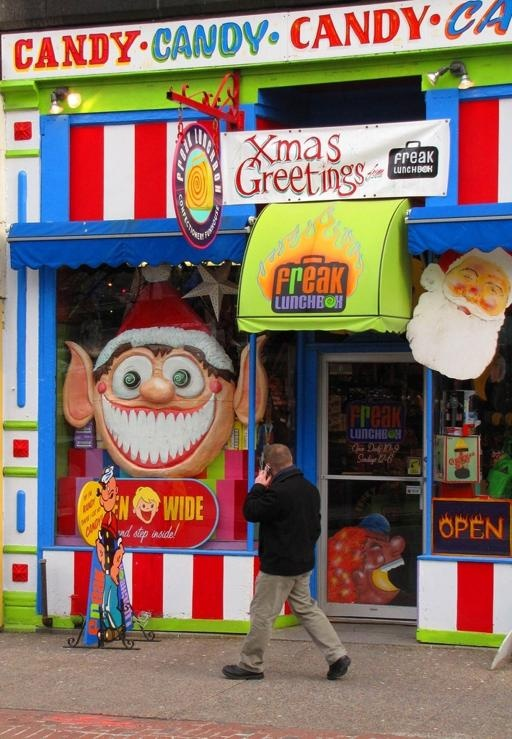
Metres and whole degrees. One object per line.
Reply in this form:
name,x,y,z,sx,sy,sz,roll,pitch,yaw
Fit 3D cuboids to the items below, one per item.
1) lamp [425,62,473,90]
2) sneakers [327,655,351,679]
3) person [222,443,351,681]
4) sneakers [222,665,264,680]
lamp,1.448,-2.159,8.269,0.389,0.238,0.152,-1,3,11
sneakers,0.528,1.913,7.189,0.138,0.166,0.237,1,2,4
person,0.187,1.262,7.198,0.795,1.507,0.344,0,2,-4
sneakers,-0.090,1.960,7.161,0.218,0.084,0.106,7,-1,6
